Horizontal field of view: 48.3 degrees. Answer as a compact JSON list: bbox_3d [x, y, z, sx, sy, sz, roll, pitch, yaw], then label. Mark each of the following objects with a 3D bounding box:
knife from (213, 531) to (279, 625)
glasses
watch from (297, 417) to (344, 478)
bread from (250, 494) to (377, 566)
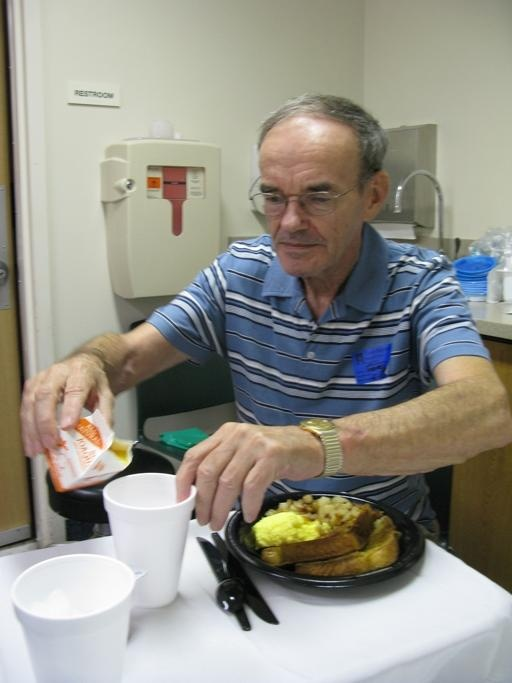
[{"bbox_3d":[-0.016,0.214,0.547,0.020,0.004,0.162,-14,13,-20],"label":"knife"},{"bbox_3d":[0.075,-0.232,0.947,0.154,0.049,0.058,3,15,17],"label":"glasses"},{"bbox_3d":[0.082,0.118,0.652,0.045,0.067,0.068,-5,20,7],"label":"watch"},{"bbox_3d":[0.057,0.193,0.596,0.078,0.023,0.062,-5,5,-16],"label":"bread"}]
